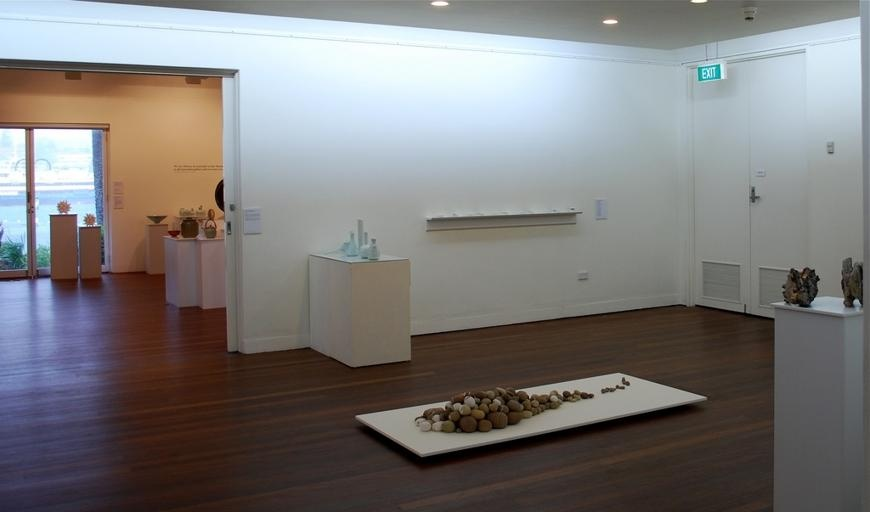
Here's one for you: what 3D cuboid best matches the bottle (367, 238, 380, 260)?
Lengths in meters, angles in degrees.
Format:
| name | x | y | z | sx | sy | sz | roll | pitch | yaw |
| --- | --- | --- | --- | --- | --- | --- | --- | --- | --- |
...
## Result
| name | x | y | z | sx | sy | sz | roll | pitch | yaw |
| --- | --- | --- | --- | --- | --- | --- | --- | --- | --- |
| bottle | -0.788 | -0.091 | 6.741 | 0.141 | 0.235 | 0.453 | -2 | 10 | -7 |

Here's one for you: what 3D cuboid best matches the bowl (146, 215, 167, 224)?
| name | x | y | z | sx | sy | sz | roll | pitch | yaw |
| --- | --- | --- | --- | --- | --- | --- | --- | --- | --- |
| bowl | -6.954 | -0.893 | 13.033 | 0.342 | 0.126 | 0.335 | -3 | 2 | 0 |

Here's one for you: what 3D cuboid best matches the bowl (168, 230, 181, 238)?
| name | x | y | z | sx | sy | sz | roll | pitch | yaw |
| --- | --- | --- | --- | --- | --- | --- | --- | --- | --- |
| bowl | -5.349 | -0.436 | 10.758 | 0.286 | 0.110 | 0.275 | 1 | -4 | 0 |

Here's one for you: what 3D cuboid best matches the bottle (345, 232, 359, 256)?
| name | x | y | z | sx | sy | sz | roll | pitch | yaw |
| --- | --- | --- | --- | --- | --- | --- | --- | --- | --- |
| bottle | -1.137 | -0.156 | 7.033 | 0.223 | 0.277 | 0.642 | -3 | 10 | -10 |
